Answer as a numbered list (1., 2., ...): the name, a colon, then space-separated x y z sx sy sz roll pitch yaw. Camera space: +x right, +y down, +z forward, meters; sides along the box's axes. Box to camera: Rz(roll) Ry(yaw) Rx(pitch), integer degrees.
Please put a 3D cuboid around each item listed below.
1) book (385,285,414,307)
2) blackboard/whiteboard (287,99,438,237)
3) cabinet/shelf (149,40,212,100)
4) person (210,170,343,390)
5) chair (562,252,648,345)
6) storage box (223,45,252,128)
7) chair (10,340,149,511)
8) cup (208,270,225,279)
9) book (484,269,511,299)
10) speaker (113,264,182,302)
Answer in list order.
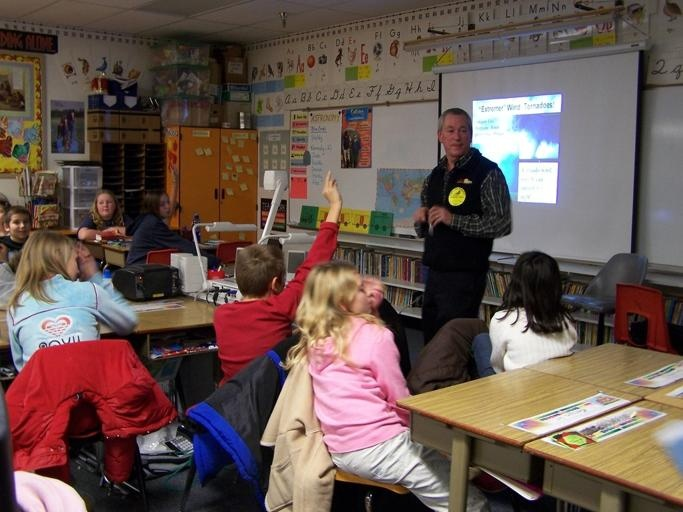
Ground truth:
1. book: 0.635 0.439 5.672 0.201 0.304 0.094 -1 2 31
2. blackboard/whiteboard: 0.285 -1.021 5.734 1.759 1.371 0.028 4 3 45
3. cabinet/shelf: -2.288 -2.565 7.166 0.803 0.862 0.820 6 9 37
4. person: -0.388 0.267 2.576 0.624 1.449 0.366 4 13 7
5. chair: 1.988 0.401 3.873 0.504 0.789 0.472 -6 7 -16
6. storage box: -1.526 -2.471 7.498 0.412 1.179 0.422 -2 11 -15
7. chair: -1.054 0.699 2.200 0.305 0.715 0.635 8 13 35
8. cup: -0.919 0.128 3.774 0.098 0.075 0.057 -2 5 -11
9. book: 1.486 0.256 4.939 0.299 0.135 0.417 4 5 28
10. speaker: -1.392 0.115 3.596 0.281 0.206 0.304 -5 12 -45
